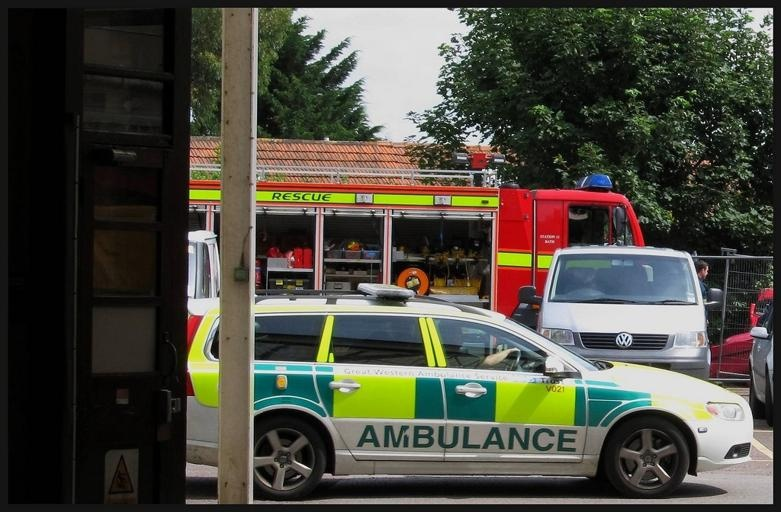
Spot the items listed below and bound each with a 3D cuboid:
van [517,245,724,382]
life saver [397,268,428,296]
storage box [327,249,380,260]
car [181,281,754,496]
[{"bbox_3d":[3.557,0.962,18.034,2.577,2.343,4.697,1,-2,6],"label":"van"},{"bbox_3d":[0.358,0.410,18.931,0.468,0.459,0.192,-1,-4,-4],"label":"life saver"},{"bbox_3d":[-0.654,-0.067,19.909,0.983,0.235,0.175,0,-4,-4],"label":"storage box"},{"bbox_3d":[0.744,1.473,14.350,7.093,2.257,2.832,1,6,-2],"label":"car"}]
